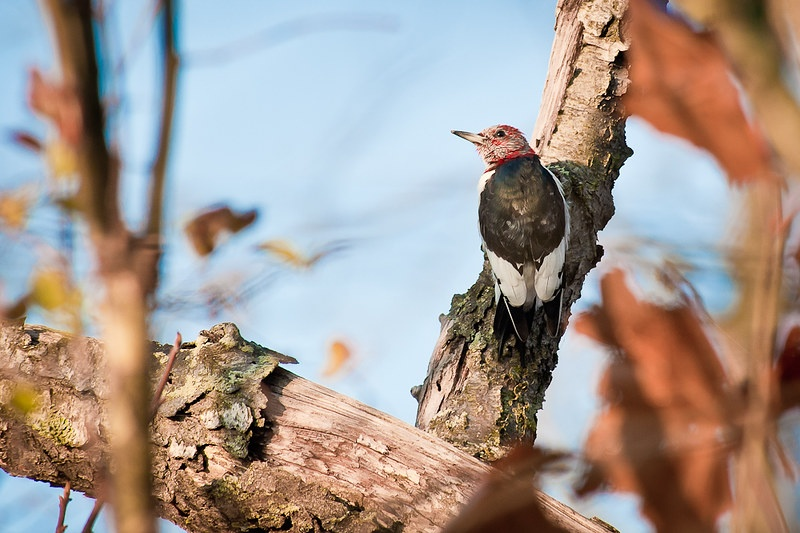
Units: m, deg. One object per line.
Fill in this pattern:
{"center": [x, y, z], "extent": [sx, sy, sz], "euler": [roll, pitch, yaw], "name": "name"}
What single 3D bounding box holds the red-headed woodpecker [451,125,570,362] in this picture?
{"center": [0.726, -0.236, 8.046], "extent": [0.552, 1.687, 0.710], "euler": [-15, -39, 27], "name": "red-headed woodpecker"}
